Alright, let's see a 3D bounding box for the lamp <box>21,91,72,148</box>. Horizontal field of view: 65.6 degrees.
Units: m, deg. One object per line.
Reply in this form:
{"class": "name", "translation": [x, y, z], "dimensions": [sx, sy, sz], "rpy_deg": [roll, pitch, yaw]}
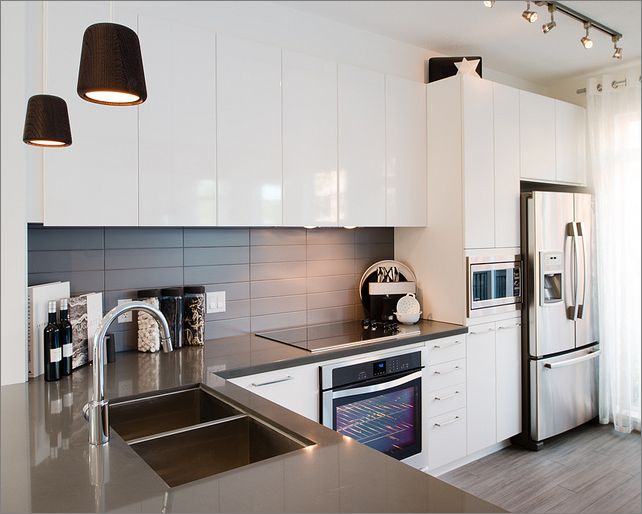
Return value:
{"class": "lamp", "translation": [-1.034, -0.518, 1.889], "dimensions": [0.147, 0.181, 0.155], "rpy_deg": [-4, 3, -18]}

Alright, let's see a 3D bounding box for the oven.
{"class": "oven", "translation": [0.262, 0.942, 3.174], "dimensions": [0.725, 0.773, 0.490], "rpy_deg": [-5, 9, -27]}

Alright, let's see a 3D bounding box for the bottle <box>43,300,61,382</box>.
{"class": "bottle", "translation": [-1.240, 0.388, 2.295], "dimensions": [0.078, 0.361, 0.080], "rpy_deg": [-1, 6, 0]}

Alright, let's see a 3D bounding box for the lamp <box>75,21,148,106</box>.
{"class": "lamp", "translation": [-0.646, -0.594, 1.544], "dimensions": [0.187, 0.202, 0.199], "rpy_deg": [-2, 4, -31]}

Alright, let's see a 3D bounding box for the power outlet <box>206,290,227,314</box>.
{"class": "power outlet", "translation": [-0.653, 0.279, 3.087], "dimensions": [0.140, 0.143, 0.015], "rpy_deg": [0, -2, -44]}

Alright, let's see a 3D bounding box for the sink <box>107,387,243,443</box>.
{"class": "sink", "translation": [-0.622, 0.683, 2.123], "dimensions": [0.300, 0.205, 0.310], "rpy_deg": [-1, -2, 43]}

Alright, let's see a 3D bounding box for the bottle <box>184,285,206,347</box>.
{"class": "bottle", "translation": [-0.725, 0.339, 2.838], "dimensions": [0.117, 0.336, 0.072], "rpy_deg": [-2, 6, -18]}
